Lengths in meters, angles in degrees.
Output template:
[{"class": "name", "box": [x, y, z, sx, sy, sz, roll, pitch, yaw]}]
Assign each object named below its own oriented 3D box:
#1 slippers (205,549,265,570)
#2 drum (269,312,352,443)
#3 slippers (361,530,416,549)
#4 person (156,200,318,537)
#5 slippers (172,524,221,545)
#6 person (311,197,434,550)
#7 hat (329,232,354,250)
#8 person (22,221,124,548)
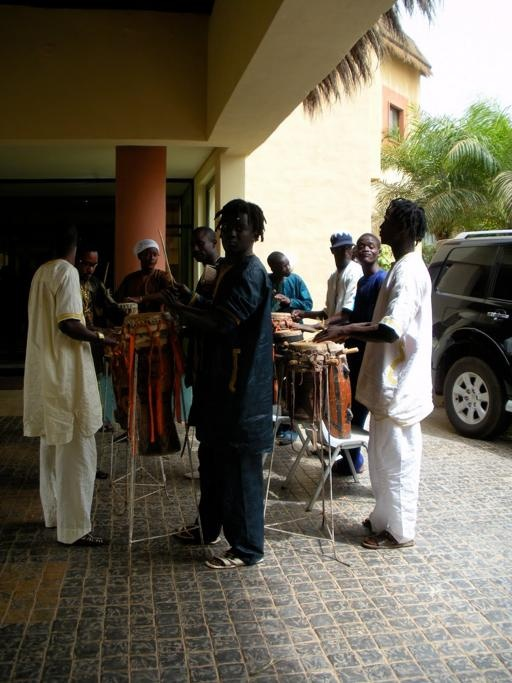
[{"class": "slippers", "box": [-0.126, 1.123, 2.860, 0.255, 0.067, 0.100, 4, -3, -15]}, {"class": "drum", "box": [0.381, 0.189, 3.538, 0.680, 0.799, 0.721, 1, 11, 10]}, {"class": "slippers", "box": [0.764, 1.141, 3.148, 0.286, 0.085, 0.110, 3, -4, -5]}, {"class": "person", "box": [-0.132, 0.239, 2.884, 0.450, 1.873, 0.613, 1, 1, 1]}, {"class": "slippers", "box": [-0.341, 1.119, 3.182, 0.283, 0.077, 0.114, 5, 15, 36]}, {"class": "person", "box": [0.734, 0.185, 3.132, 0.452, 1.473, 0.596, 2, 1, 37]}, {"class": "hat", "box": [0.771, -0.909, 5.010, 0.218, 0.155, 0.350, -3, 4, 2]}, {"class": "person", "box": [-1.068, 0.257, 3.121, 0.470, 1.787, 0.322, 2, 1, 43]}]
